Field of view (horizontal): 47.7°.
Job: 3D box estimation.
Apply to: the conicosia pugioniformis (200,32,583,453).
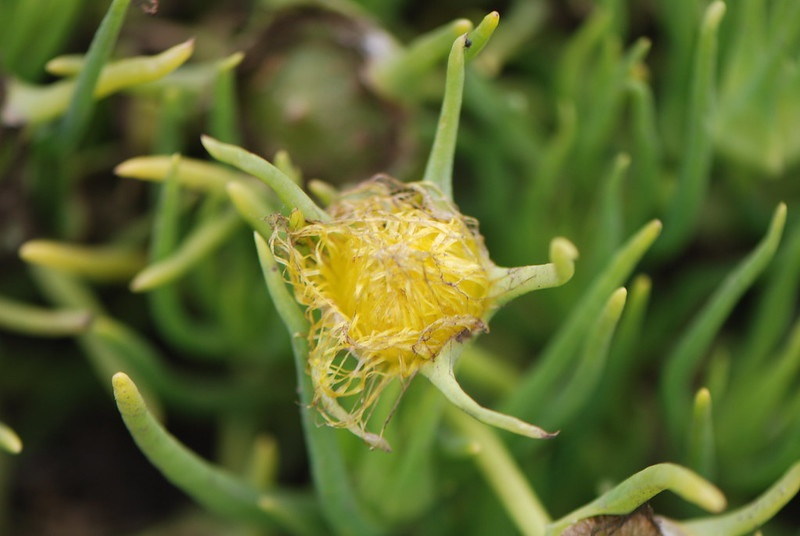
[{"bbox_3d":[-0.036,0.036,0.817,0.366,0.198,0.282,0,42,14],"label":"conicosia pugioniformis"}]
